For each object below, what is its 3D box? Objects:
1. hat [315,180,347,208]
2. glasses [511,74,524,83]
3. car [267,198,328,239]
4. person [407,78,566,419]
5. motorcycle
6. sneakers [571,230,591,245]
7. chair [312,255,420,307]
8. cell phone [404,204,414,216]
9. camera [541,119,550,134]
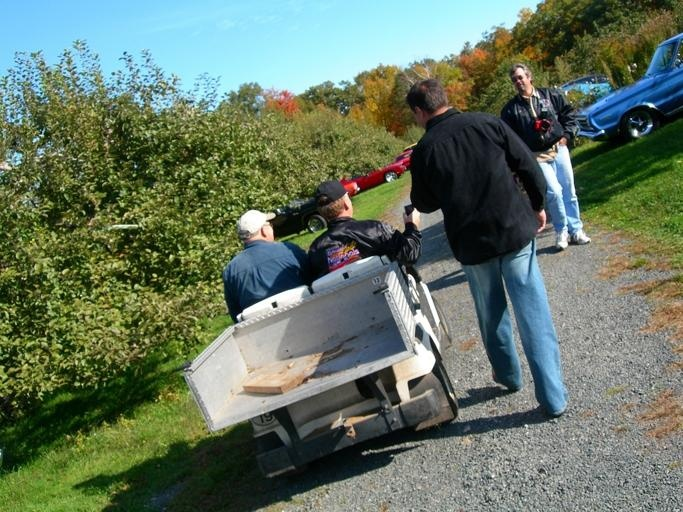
[{"bbox_3d":[-0.133,-0.697,6.086,0.231,0.191,0.326,17,56,41],"label":"hat"},{"bbox_3d":[2.429,-2.453,7.846,0.091,0.121,0.042,-3,16,11],"label":"glasses"},{"bbox_3d":[-1.763,-1.179,21.662,2.253,1.119,1.444,-16,9,19],"label":"car"},{"bbox_3d":[1.407,-0.109,5.267,1.098,2.389,0.577,-17,7,21],"label":"person"},{"bbox_3d":[0.068,1.063,6.257,1.807,1.401,2.795,-31,3,16],"label":"motorcycle"},{"bbox_3d":[3.499,-0.265,8.329,0.130,0.152,0.327,-11,2,-8],"label":"sneakers"},{"bbox_3d":[0.204,0.331,6.235,0.955,0.505,1.403,-20,-1,9],"label":"chair"},{"bbox_3d":[0.679,-0.462,5.725,0.098,0.102,0.026,1,13,-32],"label":"cell phone"},{"bbox_3d":[2.791,-1.790,7.801,0.094,0.145,0.120,3,14,9],"label":"camera"}]
